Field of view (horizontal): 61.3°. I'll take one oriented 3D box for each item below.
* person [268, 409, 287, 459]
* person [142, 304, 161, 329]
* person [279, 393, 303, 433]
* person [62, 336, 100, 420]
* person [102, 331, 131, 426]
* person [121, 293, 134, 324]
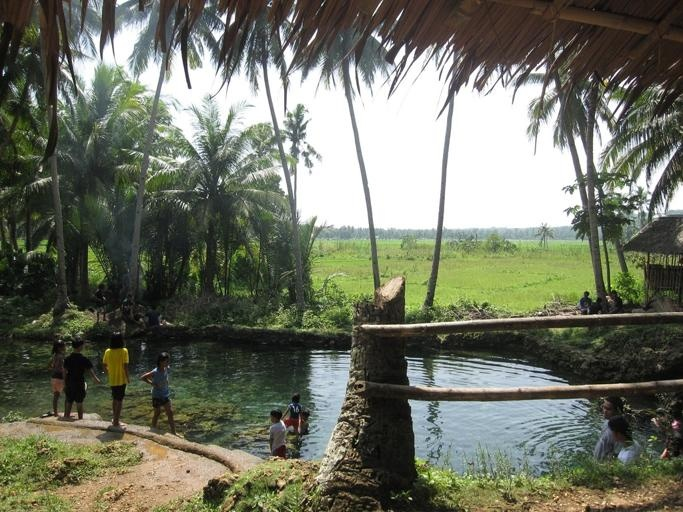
[{"bbox_3d":[-1.140,3.178,10.338,0.269,0.885,1.241,0,5,-9],"label":"person"},{"bbox_3d":[-7.429,2.368,22.707,0.574,0.875,0.938,-1,6,-21],"label":"person"},{"bbox_3d":[-1.038,3.418,12.148,0.436,1.142,0.225,8,9,-11],"label":"person"},{"bbox_3d":[-5.183,2.400,11.276,0.739,1.676,0.608,4,6,36],"label":"person"},{"bbox_3d":[-4.245,2.336,10.900,0.417,1.772,0.665,-2,6,-29],"label":"person"},{"bbox_3d":[-8.788,2.191,23.651,0.470,0.999,1.036,-1,6,-21],"label":"person"}]
